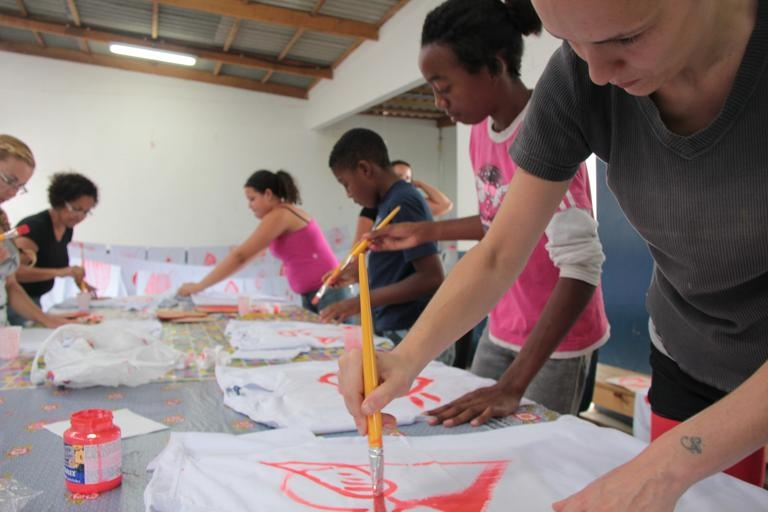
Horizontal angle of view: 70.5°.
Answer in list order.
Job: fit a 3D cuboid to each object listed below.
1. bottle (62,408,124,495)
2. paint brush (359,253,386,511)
[{"bbox_3d":[-0.626,0.420,1.176,0.110,0.153,0.116,-1,2,0],"label":"bottle"},{"bbox_3d":[-0.037,0.264,1.108,0.043,0.573,0.046,-2,-14,-7],"label":"paint brush"}]
